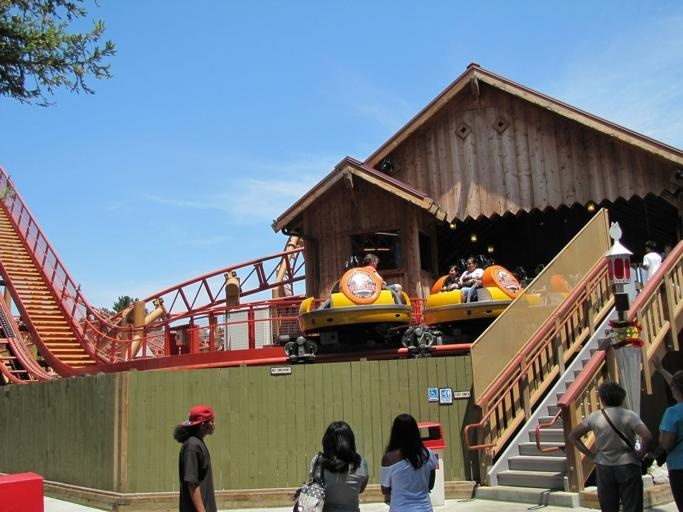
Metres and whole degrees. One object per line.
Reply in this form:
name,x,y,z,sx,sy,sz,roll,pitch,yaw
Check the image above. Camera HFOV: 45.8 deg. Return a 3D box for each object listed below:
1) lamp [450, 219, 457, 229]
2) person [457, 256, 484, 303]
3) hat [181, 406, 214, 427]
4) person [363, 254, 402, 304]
lamp,3.006,-0.874,21.849,0.127,0.136,0.240,28,6,5
person,2.906,0.582,18.286,0.442,1.057,0.572,-14,-51,24
hat,-1.827,1.976,10.101,0.490,0.272,0.333,0,-4,-3
person,0.923,0.668,18.022,0.707,1.463,0.586,-9,-1,-20
